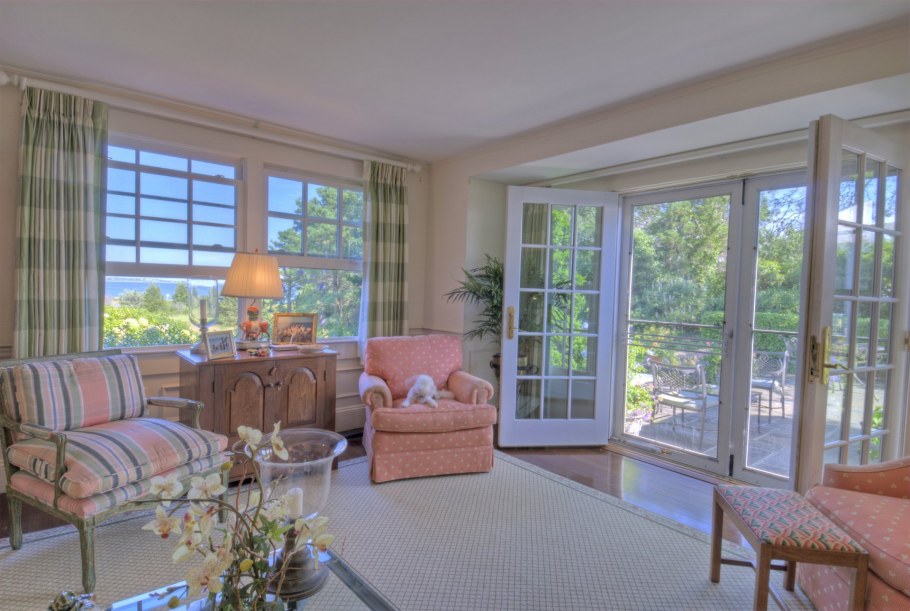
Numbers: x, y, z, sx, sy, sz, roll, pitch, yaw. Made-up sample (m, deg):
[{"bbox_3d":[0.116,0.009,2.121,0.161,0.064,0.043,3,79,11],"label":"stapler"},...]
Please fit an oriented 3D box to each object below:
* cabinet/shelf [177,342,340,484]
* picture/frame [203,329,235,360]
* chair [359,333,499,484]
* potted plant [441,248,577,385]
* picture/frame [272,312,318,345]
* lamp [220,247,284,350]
[{"bbox_3d":[-1.318,0.985,4.858,1.276,1.142,0.527,-9,-15,19],"label":"cabinet/shelf"},{"bbox_3d":[-1.783,0.299,4.580,0.029,0.188,0.229,-17,-12,29],"label":"picture/frame"},{"bbox_3d":[-0.242,0.789,5.204,1.213,1.087,1.106,0,-3,-10],"label":"chair"},{"bbox_3d":[0.296,0.075,5.909,1.101,1.621,1.019,-2,-1,35],"label":"potted plant"},{"bbox_3d":[-1.360,0.197,5.144,0.275,0.223,0.026,2,-4,-31],"label":"picture/frame"},{"bbox_3d":[-1.623,-0.031,4.870,0.442,0.617,0.580,-1,0,-21],"label":"lamp"}]
